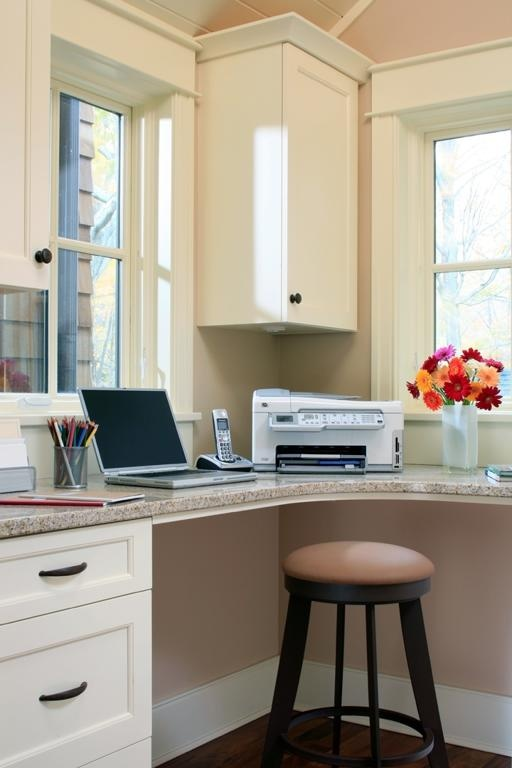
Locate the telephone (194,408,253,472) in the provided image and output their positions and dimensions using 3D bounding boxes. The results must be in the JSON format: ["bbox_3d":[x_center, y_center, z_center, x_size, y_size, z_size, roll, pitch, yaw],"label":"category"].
[{"bbox_3d":[-0.091,0.158,1.722,0.108,0.198,0.138,5,-11,-32],"label":"telephone"}]

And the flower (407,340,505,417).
[{"bbox_3d":[0.616,-0.019,1.859,0.234,0.197,0.215,-3,6,-9],"label":"flower"}]

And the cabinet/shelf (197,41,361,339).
[{"bbox_3d":[0.052,-0.634,1.935,0.511,0.889,0.279,-2,5,-3],"label":"cabinet/shelf"}]

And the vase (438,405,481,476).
[{"bbox_3d":[0.638,0.170,1.864,0.099,0.204,0.115,8,-14,-18],"label":"vase"}]

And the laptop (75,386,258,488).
[{"bbox_3d":[-0.246,0.105,1.488,0.275,0.250,0.273,-1,-3,31],"label":"laptop"}]
